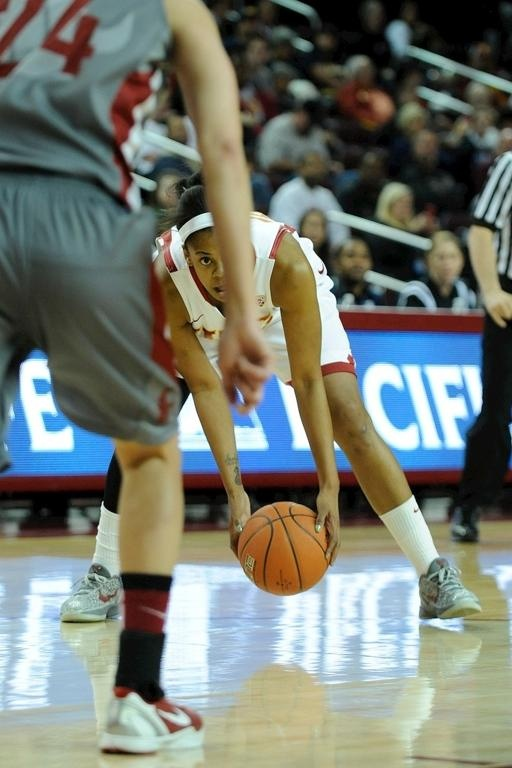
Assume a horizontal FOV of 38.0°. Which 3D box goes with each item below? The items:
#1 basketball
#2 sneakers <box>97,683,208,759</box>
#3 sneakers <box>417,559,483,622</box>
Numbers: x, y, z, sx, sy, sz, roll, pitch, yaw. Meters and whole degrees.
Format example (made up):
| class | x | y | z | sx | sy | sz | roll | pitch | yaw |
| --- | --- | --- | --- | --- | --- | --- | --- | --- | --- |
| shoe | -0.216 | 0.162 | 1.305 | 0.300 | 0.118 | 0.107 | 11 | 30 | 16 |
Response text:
| class | x | y | z | sx | sy | sz | roll | pitch | yaw |
| --- | --- | --- | --- | --- | --- | --- | --- | --- | --- |
| basketball | 0.054 | 0.448 | 2.026 | 0.266 | 0.228 | 0.252 | 6 | -17 | -7 |
| sneakers | -0.146 | 0.484 | 1.115 | 0.173 | 0.095 | 0.082 | 4 | -6 | -41 |
| sneakers | 0.539 | 0.633 | 2.272 | 0.104 | 0.138 | 0.267 | -3 | -10 | -19 |
